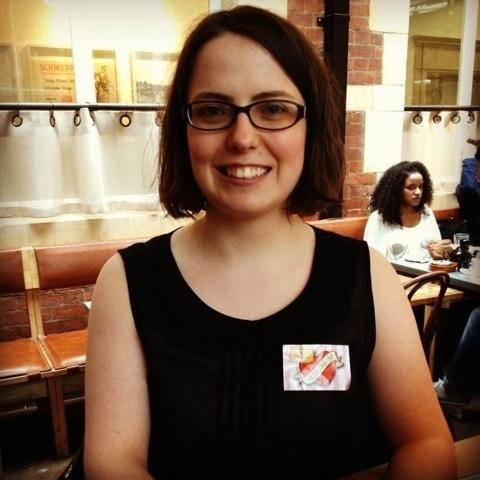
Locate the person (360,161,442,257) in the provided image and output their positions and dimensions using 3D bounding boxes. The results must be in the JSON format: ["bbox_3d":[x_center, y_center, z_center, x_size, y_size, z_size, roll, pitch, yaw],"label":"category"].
[{"bbox_3d":[1.390,-0.274,3.595,0.797,1.078,0.447,0,-1,-25],"label":"person"}]

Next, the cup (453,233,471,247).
[{"bbox_3d":[1.779,0.003,3.267,0.109,0.147,0.137,0,-1,2],"label":"cup"}]

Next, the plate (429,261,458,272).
[{"bbox_3d":[1.444,0.187,2.906,0.160,0.063,0.177,0,6,0],"label":"plate"}]
